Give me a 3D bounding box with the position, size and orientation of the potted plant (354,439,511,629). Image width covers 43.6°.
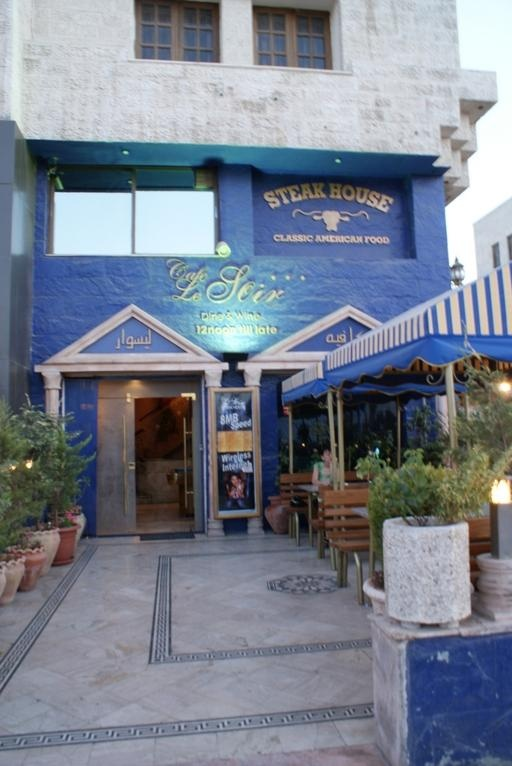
[{"bbox_3d":[0.962,0.786,3.500,0.601,0.847,1.026,-1,-3,5],"label":"potted plant"}]
